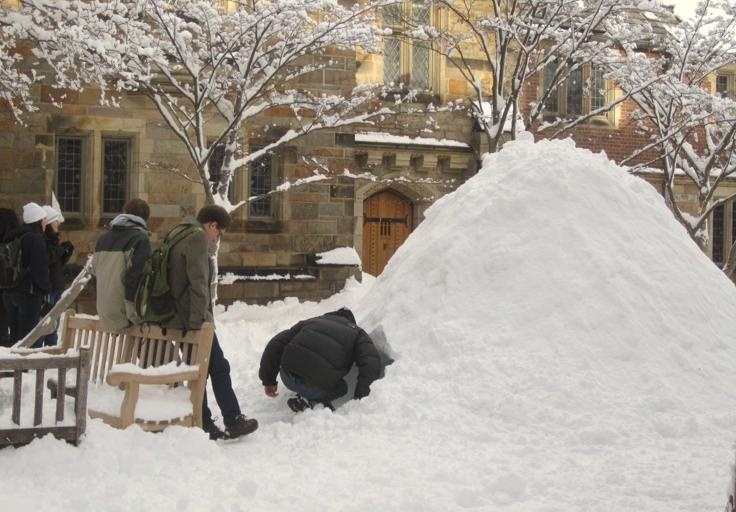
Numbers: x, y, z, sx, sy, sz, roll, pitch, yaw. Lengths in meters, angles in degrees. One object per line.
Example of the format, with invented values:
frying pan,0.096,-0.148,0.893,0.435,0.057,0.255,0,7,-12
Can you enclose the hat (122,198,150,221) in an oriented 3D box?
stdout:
hat,-2.828,-0.558,14.367,0.263,0.303,0.306,11,16,-20

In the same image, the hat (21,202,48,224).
hat,-4.556,-0.558,15.740,0.340,0.282,0.255,-27,14,-1

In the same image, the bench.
bench,-2.780,1.381,13.835,1.774,1.002,0.908,3,1,23

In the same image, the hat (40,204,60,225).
hat,-4.374,-0.562,16.018,0.195,0.197,0.270,-19,-6,5

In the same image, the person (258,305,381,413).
person,-0.580,1.275,14.682,1.421,1.465,0.838,13,-13,8
